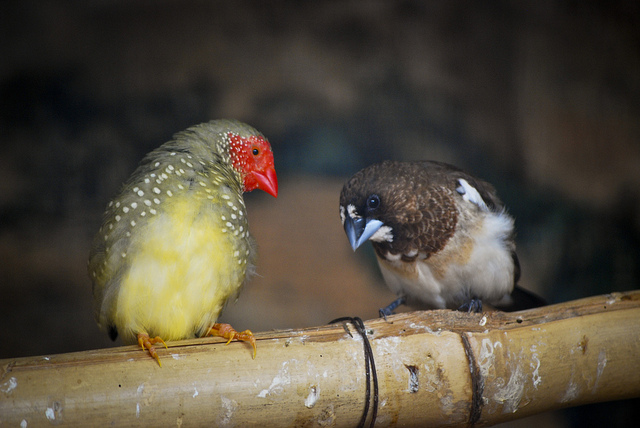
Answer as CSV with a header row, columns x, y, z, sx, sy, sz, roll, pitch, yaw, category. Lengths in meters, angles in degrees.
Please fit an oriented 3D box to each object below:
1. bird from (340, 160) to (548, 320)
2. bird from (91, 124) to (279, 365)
x,y,z,sx,sy,sz,roll,pitch,yaw,category
0.560,0.039,3.561,1.140,0.656,0.536,-11,6,-38,bird
-0.467,0.111,3.099,0.635,0.852,0.297,2,-21,-13,bird
